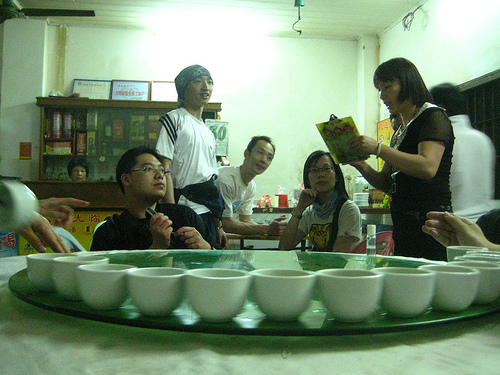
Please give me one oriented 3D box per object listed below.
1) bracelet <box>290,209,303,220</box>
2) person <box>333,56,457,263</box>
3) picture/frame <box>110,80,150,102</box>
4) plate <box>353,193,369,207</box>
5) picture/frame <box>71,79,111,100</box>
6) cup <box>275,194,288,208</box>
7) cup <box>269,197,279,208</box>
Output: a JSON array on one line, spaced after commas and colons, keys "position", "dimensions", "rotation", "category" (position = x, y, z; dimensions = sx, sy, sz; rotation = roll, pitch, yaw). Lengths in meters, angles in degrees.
[{"position": [0.258, 0.152, 2.627], "dimensions": [0.019, 0.058, 0.059], "rotation": [14, -7, -26], "category": "bracelet"}, {"position": [0.682, 0.088, 2.203], "dimensions": [0.441, 1.384, 0.504], "rotation": [1, -3, 3], "category": "person"}, {"position": [-1.408, -1.116, 5.511], "dimensions": [0.360, 0.255, 0.049], "rotation": [-1, -30, -6], "category": "picture/frame"}, {"position": [1.013, 0.113, 4.368], "dimensions": [0.144, 0.120, 0.148], "rotation": [-1, 0, 41], "category": "plate"}, {"position": [-1.830, -1.148, 5.512], "dimensions": [0.445, 0.296, 0.099], "rotation": [1, -15, -5], "category": "picture/frame"}, {"position": [0.322, 0.144, 4.738], "dimensions": [0.116, 0.127, 0.115], "rotation": [-1, 2, 0], "category": "cup"}, {"position": [0.234, 0.153, 4.729], "dimensions": [0.092, 0.100, 0.091], "rotation": [-1, 3, 0], "category": "cup"}]
